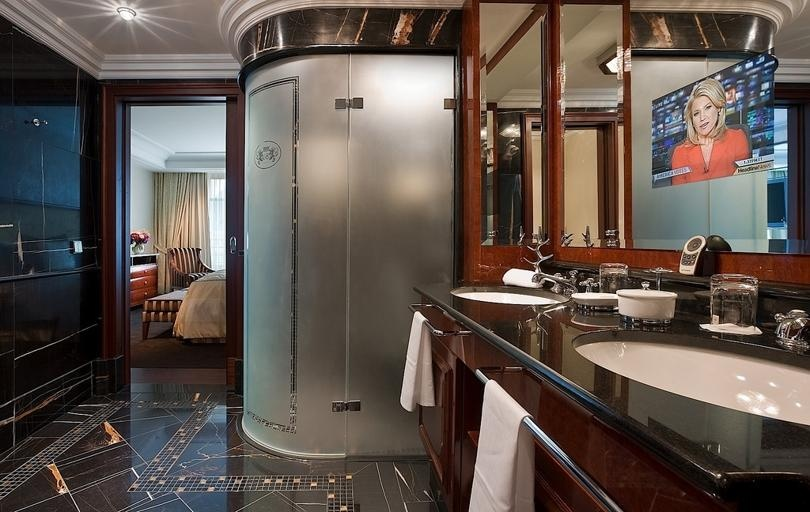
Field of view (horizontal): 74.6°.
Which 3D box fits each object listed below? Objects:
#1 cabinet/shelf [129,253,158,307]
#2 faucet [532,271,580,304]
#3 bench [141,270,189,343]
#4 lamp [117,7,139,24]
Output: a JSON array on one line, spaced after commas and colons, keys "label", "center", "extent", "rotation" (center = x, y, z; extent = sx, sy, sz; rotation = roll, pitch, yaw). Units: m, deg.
[{"label": "cabinet/shelf", "center": [-3.661, 0.338, 7.416], "extent": [0.323, 0.726, 0.789], "rotation": [0, 3, -4]}, {"label": "faucet", "center": [0.864, 0.169, 2.947], "extent": [0.284, 0.113, 0.104], "rotation": [13, 13, 42]}, {"label": "bench", "center": [-2.735, 0.697, 6.004], "extent": [0.481, 0.524, 0.581], "rotation": [-3, 15, -16]}, {"label": "lamp", "center": [-2.018, -1.760, 3.852], "extent": [0.131, 0.075, 0.185], "rotation": [-10, 19, -39]}]
